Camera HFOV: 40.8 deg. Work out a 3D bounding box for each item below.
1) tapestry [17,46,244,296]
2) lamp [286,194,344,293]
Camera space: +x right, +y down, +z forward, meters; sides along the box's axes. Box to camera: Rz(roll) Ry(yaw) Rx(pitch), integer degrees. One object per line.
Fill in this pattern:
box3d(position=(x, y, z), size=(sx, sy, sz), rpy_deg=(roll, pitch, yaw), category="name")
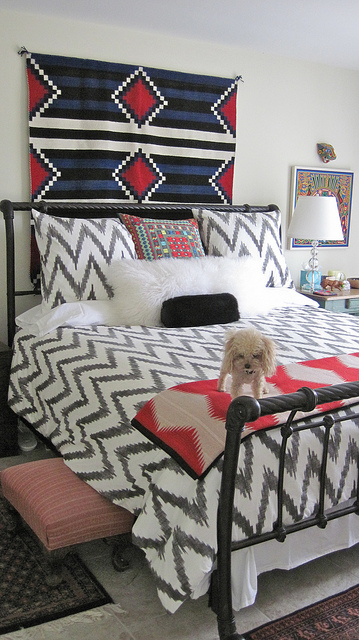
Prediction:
box3d(position=(-0.255, -1.131, 2.925), size=(1.421, 0.940, 0.155), rpy_deg=(-1, 1, -33), category="tapestry")
box3d(position=(0.930, -0.529, 3.390), size=(0.321, 0.670, 0.317), rpy_deg=(-1, 1, -26), category="lamp")
